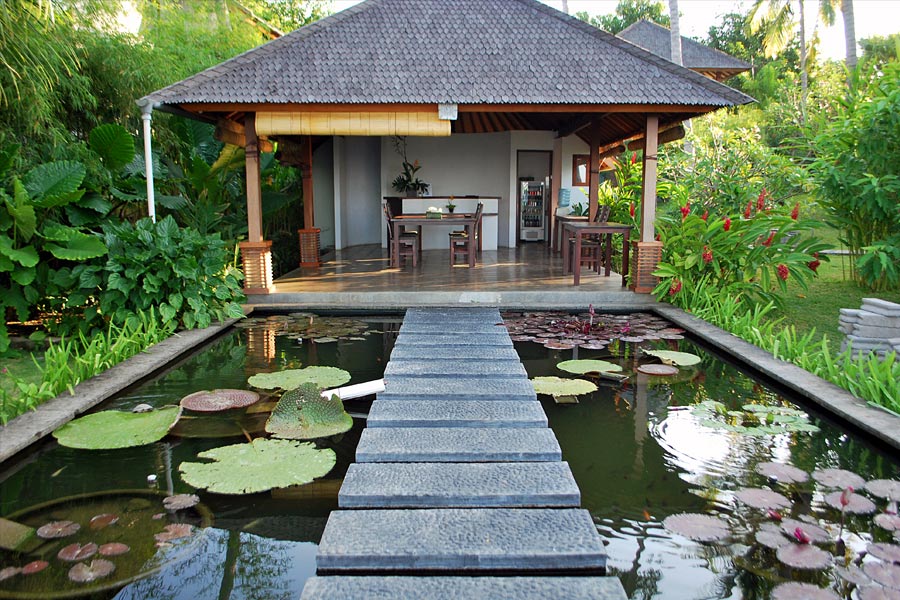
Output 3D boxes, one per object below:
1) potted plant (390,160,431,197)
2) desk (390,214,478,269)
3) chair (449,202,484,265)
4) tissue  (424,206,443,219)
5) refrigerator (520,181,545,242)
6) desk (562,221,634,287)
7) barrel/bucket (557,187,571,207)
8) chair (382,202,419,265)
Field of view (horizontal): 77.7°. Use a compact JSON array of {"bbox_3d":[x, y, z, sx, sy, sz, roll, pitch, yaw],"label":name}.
[{"bbox_3d":[-0.990,-3.072,13.898,0.659,0.866,0.842,6,11,31],"label":"potted plant"},{"bbox_3d":[-0.131,-1.258,11.405,1.651,0.770,1.466,0,8,0],"label":"desk"},{"bbox_3d":[0.367,-1.411,11.715,0.685,1.092,1.577,3,11,5],"label":"chair"},{"bbox_3d":[-0.310,-1.672,10.793,0.317,0.187,0.419,-1,9,-6],"label":"tissue "},{"bbox_3d":[2.149,-2.318,14.546,0.637,1.547,0.406,0,10,4],"label":"refrigerator"},{"bbox_3d":[2.471,-0.644,10.412,1.040,0.947,2.249,1,-8,-6],"label":"desk"},{"bbox_3d":[2.818,-2.545,13.710,0.287,0.432,0.202,1,10,7],"label":"barrel/bucket"},{"bbox_3d":[-1.019,-1.382,11.774,0.759,1.319,1.585,0,10,0],"label":"chair"}]
